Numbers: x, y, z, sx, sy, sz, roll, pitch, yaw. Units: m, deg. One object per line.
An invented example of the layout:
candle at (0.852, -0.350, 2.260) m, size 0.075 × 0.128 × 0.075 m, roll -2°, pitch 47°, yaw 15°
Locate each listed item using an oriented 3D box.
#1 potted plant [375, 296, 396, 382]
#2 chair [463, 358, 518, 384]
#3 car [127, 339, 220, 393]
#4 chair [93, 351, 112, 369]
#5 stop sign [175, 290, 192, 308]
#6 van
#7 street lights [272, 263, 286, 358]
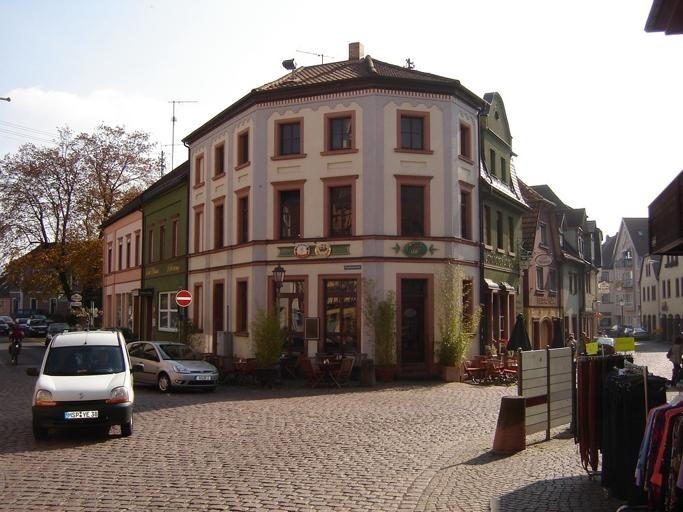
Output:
potted plant at (1.592, 3.001, 24.666) m, size 0.756 × 3.285 × 0.485 m, roll -1°, pitch -9°, yaw 4°
chair at (5.546, 4.226, 24.376) m, size 2.051 × 1.081 × 1.683 m, roll -9°, pitch -14°, yaw 36°
car at (-5.677, 3.654, 21.885) m, size 3.218 × 1.701 × 1.339 m, roll -9°, pitch -13°, yaw 36°
chair at (-5.173, 2.240, 14.167) m, size 0.241 × 0.405 × 0.357 m, roll 1°, pitch -5°, yaw -10°
stop sign at (-6.591, 1.778, 27.390) m, size 0.812 × 1.072 × 0.167 m, roll -3°, pitch -10°, yaw 0°
van at (-5.355, 2.537, 13.535) m, size 1.435 × 1.505 × 2.734 m, roll 1°, pitch -14°, yaw -14°
street lights at (-2.274, 1.689, 23.815) m, size 0.488 × 2.775 × 0.474 m, roll 0°, pitch -1°, yaw -26°
